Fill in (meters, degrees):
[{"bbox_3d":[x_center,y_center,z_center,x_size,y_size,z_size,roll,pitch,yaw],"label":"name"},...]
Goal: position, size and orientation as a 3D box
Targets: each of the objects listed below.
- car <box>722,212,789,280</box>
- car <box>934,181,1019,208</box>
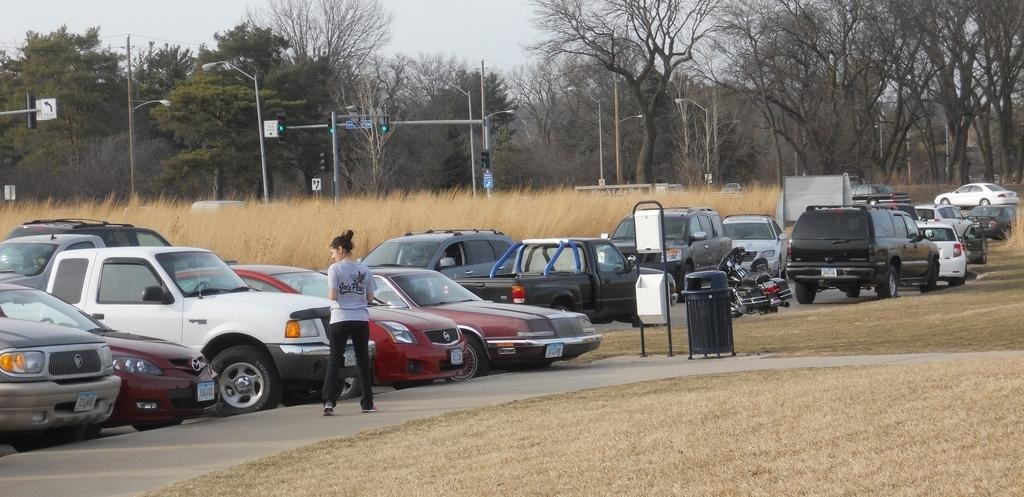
[{"bbox_3d":[13.579,-0.001,78.622,3.150,3.657,8.535,1,1,32],"label":"car"},{"bbox_3d":[37.322,-4.291,112.434,6.432,1.957,2.757,4,4,33],"label":"car"}]
